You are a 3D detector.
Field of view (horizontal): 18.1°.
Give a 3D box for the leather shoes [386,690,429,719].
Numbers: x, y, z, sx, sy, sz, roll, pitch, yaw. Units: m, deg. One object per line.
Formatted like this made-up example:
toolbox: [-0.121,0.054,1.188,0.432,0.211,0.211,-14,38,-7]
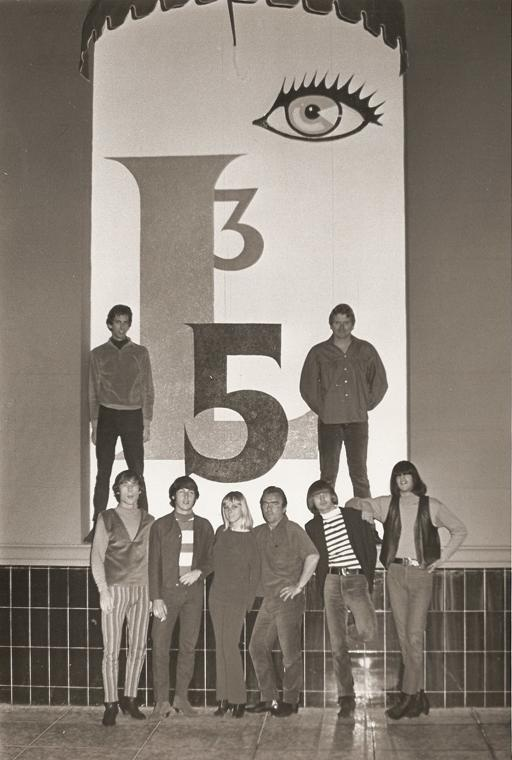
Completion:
leather shoes: [0.583,1.247,6.104,0.180,0.183,0.075,0,-9,-1]
